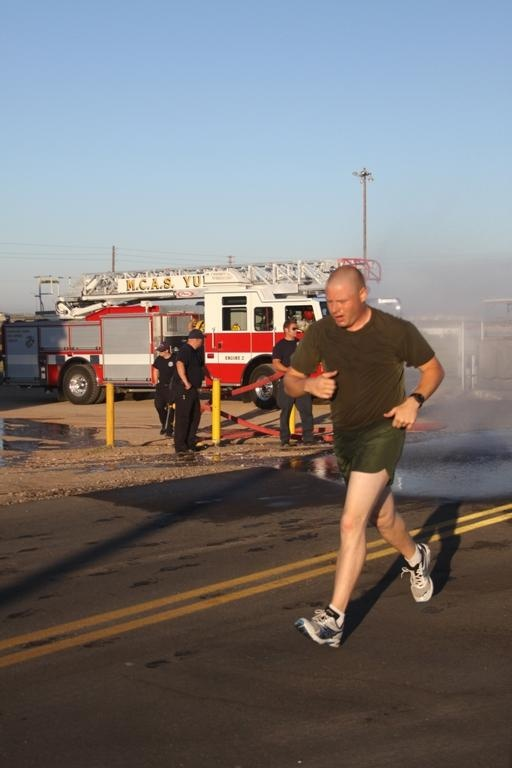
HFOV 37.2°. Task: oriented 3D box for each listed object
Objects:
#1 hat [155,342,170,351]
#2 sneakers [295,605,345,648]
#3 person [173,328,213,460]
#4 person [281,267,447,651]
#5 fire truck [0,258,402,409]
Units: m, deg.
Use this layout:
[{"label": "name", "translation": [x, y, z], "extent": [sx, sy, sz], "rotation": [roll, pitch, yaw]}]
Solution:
[{"label": "hat", "translation": [-1.702, -0.707, 13.985], "extent": [0.200, 0.132, 0.276], "rotation": [-1, -4, 24]}, {"label": "sneakers", "translation": [0.302, 1.083, 3.418], "extent": [0.119, 0.148, 0.320], "rotation": [38, 6, 38]}, {"label": "person", "translation": [-1.078, 0.086, 11.720], "extent": [0.450, 1.878, 0.916], "rotation": [-1, 1, 5]}, {"label": "person", "translation": [0.531, 0.329, 3.806], "extent": [0.701, 1.842, 1.009], "rotation": [0, 1, 23]}, {"label": "fire truck", "translation": [-1.853, -1.645, 21.842], "extent": [12.247, 3.731, 4.622], "rotation": [1, 3, 31]}]
